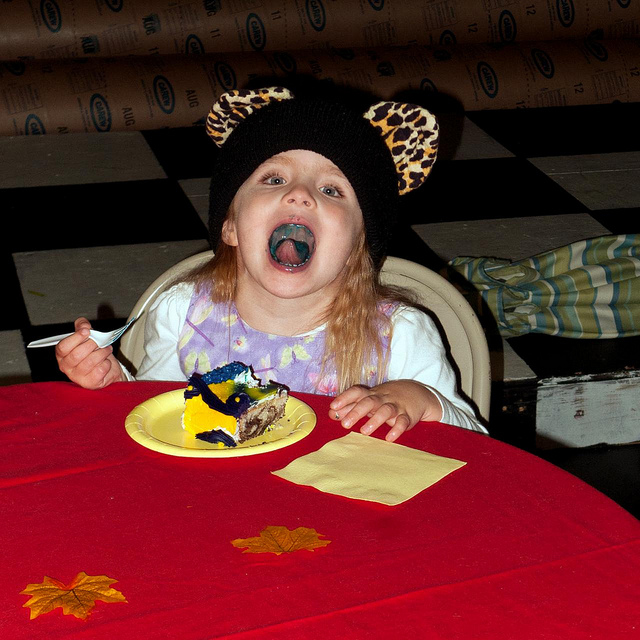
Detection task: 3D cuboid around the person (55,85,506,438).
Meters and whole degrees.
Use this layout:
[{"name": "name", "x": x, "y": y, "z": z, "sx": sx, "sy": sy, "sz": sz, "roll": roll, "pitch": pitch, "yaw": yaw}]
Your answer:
[{"name": "person", "x": -0.044, "y": -0.089, "z": 1.244, "sx": 0.934, "sy": 0.681, "sz": 0.551, "roll": 8, "pitch": 9, "yaw": 13}]

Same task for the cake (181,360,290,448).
[{"name": "cake", "x": -0.111, "y": 0.102, "z": 0.797, "sx": 0.100, "sy": 0.051, "sz": 0.107, "roll": 23, "pitch": 32, "yaw": 19}]

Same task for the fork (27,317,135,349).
[{"name": "fork", "x": -0.504, "y": 0.026, "z": 1.311, "sx": 0.243, "sy": 0.041, "sz": 0.042, "roll": -9, "pitch": 42, "yaw": 8}]
